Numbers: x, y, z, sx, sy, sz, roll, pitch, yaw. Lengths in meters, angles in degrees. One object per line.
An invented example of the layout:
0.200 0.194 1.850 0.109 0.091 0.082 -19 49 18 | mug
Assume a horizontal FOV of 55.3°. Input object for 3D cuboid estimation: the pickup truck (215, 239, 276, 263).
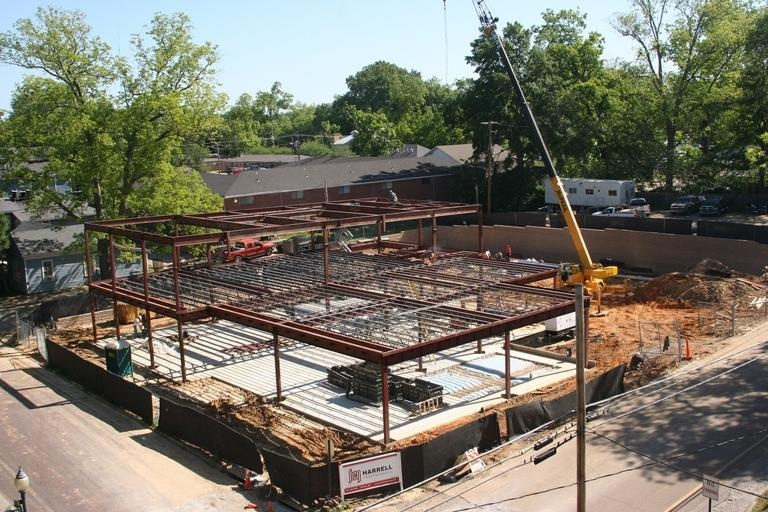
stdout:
-11.376 -0.513 61.629 2.110 1.418 4.947 9 15 39 | pickup truck
